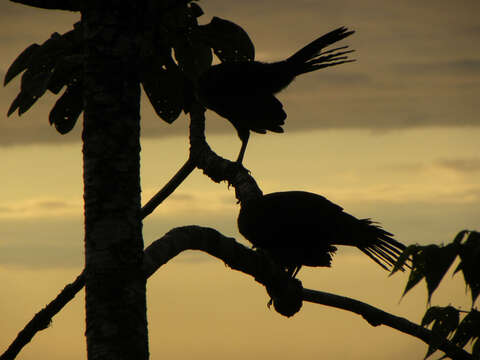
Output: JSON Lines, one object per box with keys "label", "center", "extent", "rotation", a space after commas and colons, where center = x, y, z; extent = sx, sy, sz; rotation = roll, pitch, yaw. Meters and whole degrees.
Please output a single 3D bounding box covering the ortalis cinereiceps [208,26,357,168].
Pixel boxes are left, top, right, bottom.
{"label": "ortalis cinereiceps", "center": [0.180, -0.903, 13.903], "extent": [1.923, 1.248, 0.560], "rotation": [-13, 9, -16]}
